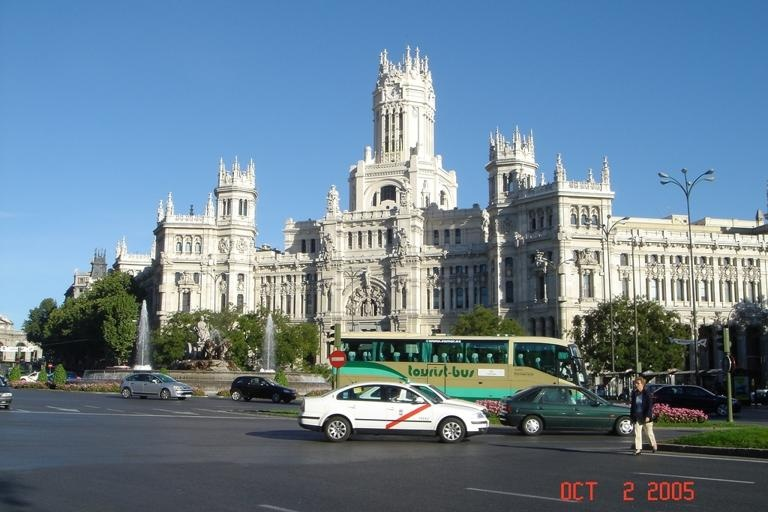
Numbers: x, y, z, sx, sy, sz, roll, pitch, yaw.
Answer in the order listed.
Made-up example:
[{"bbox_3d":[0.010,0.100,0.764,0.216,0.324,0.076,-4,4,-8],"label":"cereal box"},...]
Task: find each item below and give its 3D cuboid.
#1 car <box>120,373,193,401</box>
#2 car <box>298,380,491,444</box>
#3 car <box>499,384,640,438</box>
[{"bbox_3d":[-16.197,9.091,78.977,5.275,1.795,2.024,-2,-5,19],"label":"car"},{"bbox_3d":[0.329,7.650,55.253,9.327,2.806,3.101,-1,-5,7],"label":"car"},{"bbox_3d":[9.527,8.010,59.513,6.495,2.014,2.813,-1,-3,-1],"label":"car"}]
